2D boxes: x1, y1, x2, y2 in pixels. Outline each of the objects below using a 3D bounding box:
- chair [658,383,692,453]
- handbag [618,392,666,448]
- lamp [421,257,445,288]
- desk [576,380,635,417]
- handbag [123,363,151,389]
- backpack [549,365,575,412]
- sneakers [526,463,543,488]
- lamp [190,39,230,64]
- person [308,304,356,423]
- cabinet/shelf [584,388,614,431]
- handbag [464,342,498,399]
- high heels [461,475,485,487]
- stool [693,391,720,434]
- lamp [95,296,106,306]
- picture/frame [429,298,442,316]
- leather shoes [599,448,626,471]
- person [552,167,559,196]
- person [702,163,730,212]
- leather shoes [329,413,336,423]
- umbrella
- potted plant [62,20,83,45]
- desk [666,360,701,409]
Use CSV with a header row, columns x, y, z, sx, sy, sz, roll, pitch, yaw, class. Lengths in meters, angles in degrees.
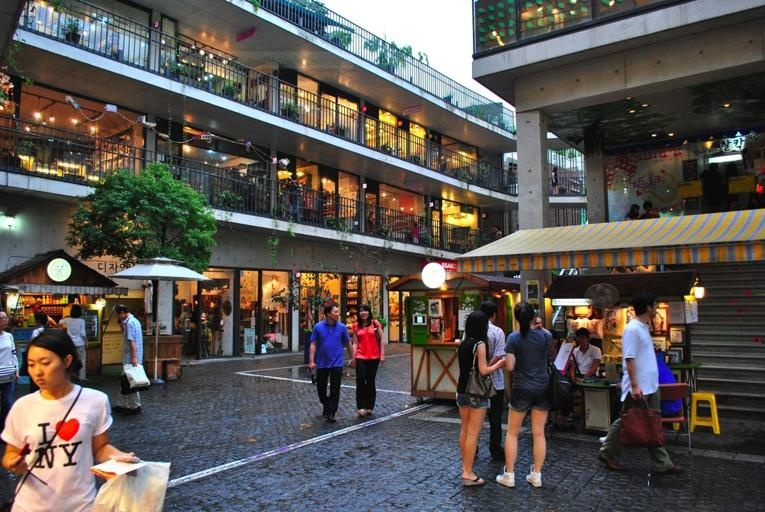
x,y,z,sx,sy,sz,roll,pitch,yaw,class
5.008,2.766,11.478,0.686,0.996,0.761,0,-12,4,chair
4.139,2.700,10.601,0.638,0.822,0.342,2,6,21,handbag
1.140,0.468,15.216,0.575,0.597,0.342,1,5,6,lamp
4.143,2.641,12.492,0.721,0.520,0.718,-6,-10,38,desk
-4.970,2.394,13.280,0.448,0.469,0.158,-9,-15,-45,handbag
2.864,2.184,10.727,0.325,0.831,0.639,1,5,14,backpack
2.402,3.492,10.560,0.239,0.327,0.161,1,6,15,sneakers
-5.707,-6.674,21.722,1.155,0.990,2.196,-1,5,-16,lamp
-1.125,2.142,13.567,0.804,2.325,0.899,2,6,18,person
4.211,2.926,12.709,0.670,0.814,0.638,-3,-4,26,cabinet/shelf
1.484,1.820,10.465,0.422,0.819,0.211,1,6,7,handbag
1.443,3.574,10.537,0.266,0.081,0.155,2,-8,-13,high heels
6.136,2.976,12.636,0.628,0.672,0.601,6,-8,-38,stool
-7.963,1.289,18.613,0.229,0.213,0.232,-4,-2,-13,lamp
1.189,1.188,15.150,0.331,0.477,0.338,-3,-5,39,picture/frame
3.787,3.416,11.109,0.501,0.235,0.200,27,-10,11,leather shoes
8.172,-3.549,31.481,0.398,1.254,0.777,1,6,14,person
9.798,-2.013,19.514,0.774,1.419,0.524,4,7,34,person
-1.002,3.242,13.273,0.150,0.146,0.143,4,4,32,leather shoes
-5.940,1.572,17.535,2.909,3.234,2.887,3,-7,-33,umbrella
-8.445,-6.042,17.957,0.422,0.864,0.963,-3,6,-25,potted plant
6.139,2.608,13.349,0.777,0.767,0.776,-3,-7,22,desk
